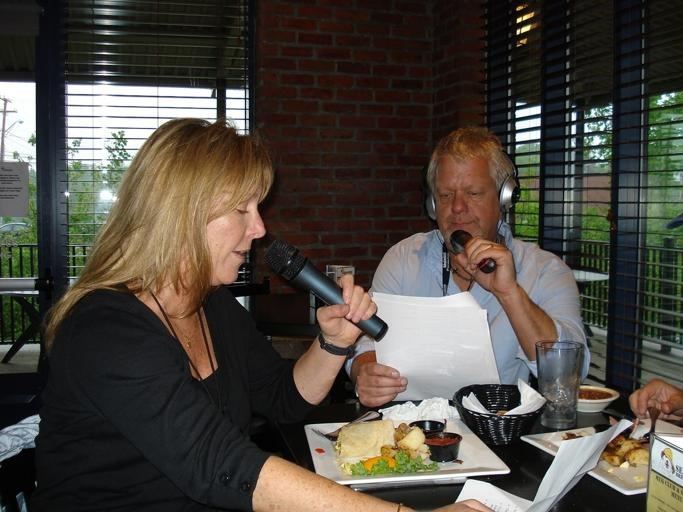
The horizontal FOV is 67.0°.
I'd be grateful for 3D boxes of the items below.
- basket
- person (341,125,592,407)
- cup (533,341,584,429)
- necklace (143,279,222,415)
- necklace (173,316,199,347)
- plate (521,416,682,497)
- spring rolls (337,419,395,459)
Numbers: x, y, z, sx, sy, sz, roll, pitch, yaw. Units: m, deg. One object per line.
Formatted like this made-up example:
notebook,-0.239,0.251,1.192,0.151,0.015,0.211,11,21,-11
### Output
basket,0.402,0.378,1.351,0.211,0.117,0.213,-1,5,-43
person,0.459,0.013,1.809,0.606,1.193,0.661,1,1,30
cup,0.568,0.336,1.395,0.128,0.233,0.109,6,8,0
necklace,-0.396,0.196,1.369,0.145,0.059,0.237,17,33,-45
necklace,-0.408,0.199,1.357,0.055,0.067,0.019,2,-39,-46
plate,0.602,0.466,1.133,0.226,0.022,0.229,0,2,-20
spring rolls,0.056,0.440,1.292,0.172,0.072,0.133,3,1,-6
